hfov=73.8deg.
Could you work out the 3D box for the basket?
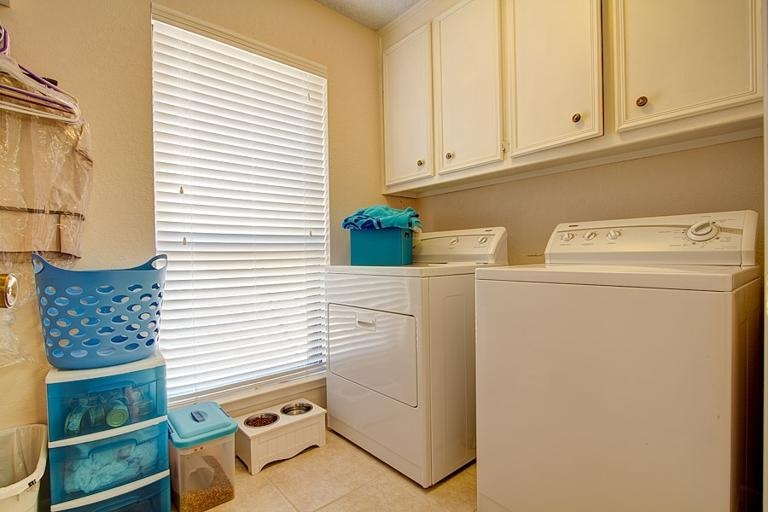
[{"bbox_3d":[-1.270,0.247,2.315,0.514,0.526,0.208,-3,3,-33],"label":"basket"}]
